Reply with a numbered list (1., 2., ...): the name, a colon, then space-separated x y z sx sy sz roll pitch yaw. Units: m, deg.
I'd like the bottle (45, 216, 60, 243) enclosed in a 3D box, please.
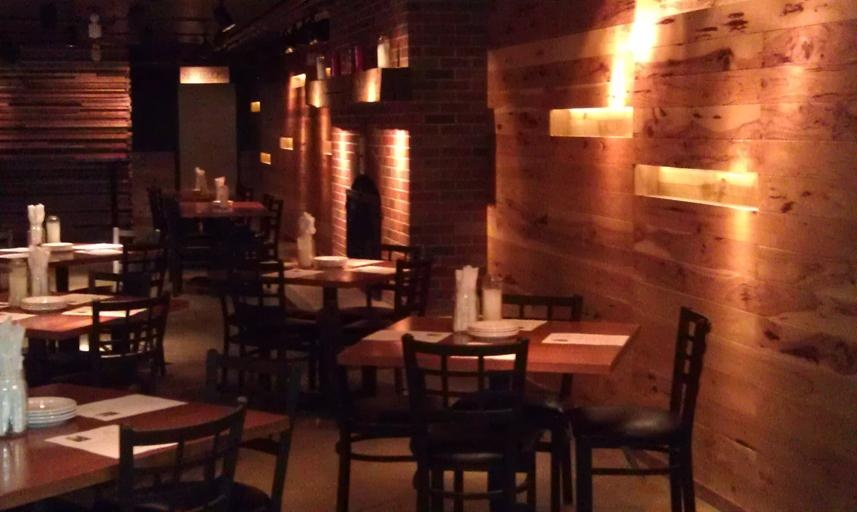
1. bottle: -3.693 -0.261 6.493 0.111 0.239 0.254 -5 7 -32
